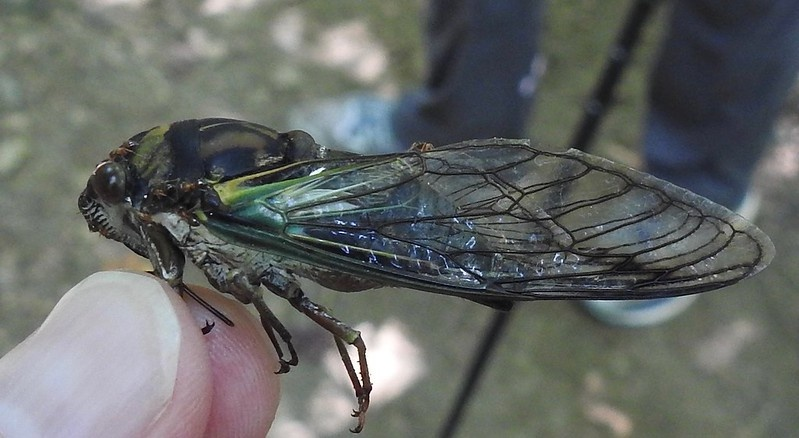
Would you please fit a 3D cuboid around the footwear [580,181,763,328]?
[{"bbox_3d":[0.700,0.063,2.302,0.565,0.121,0.361,1,48,-3],"label":"footwear"}]

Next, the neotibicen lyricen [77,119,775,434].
[{"bbox_3d":[0.052,0.050,2.339,1.829,0.506,0.551,-3,55,2],"label":"neotibicen lyricen"}]
